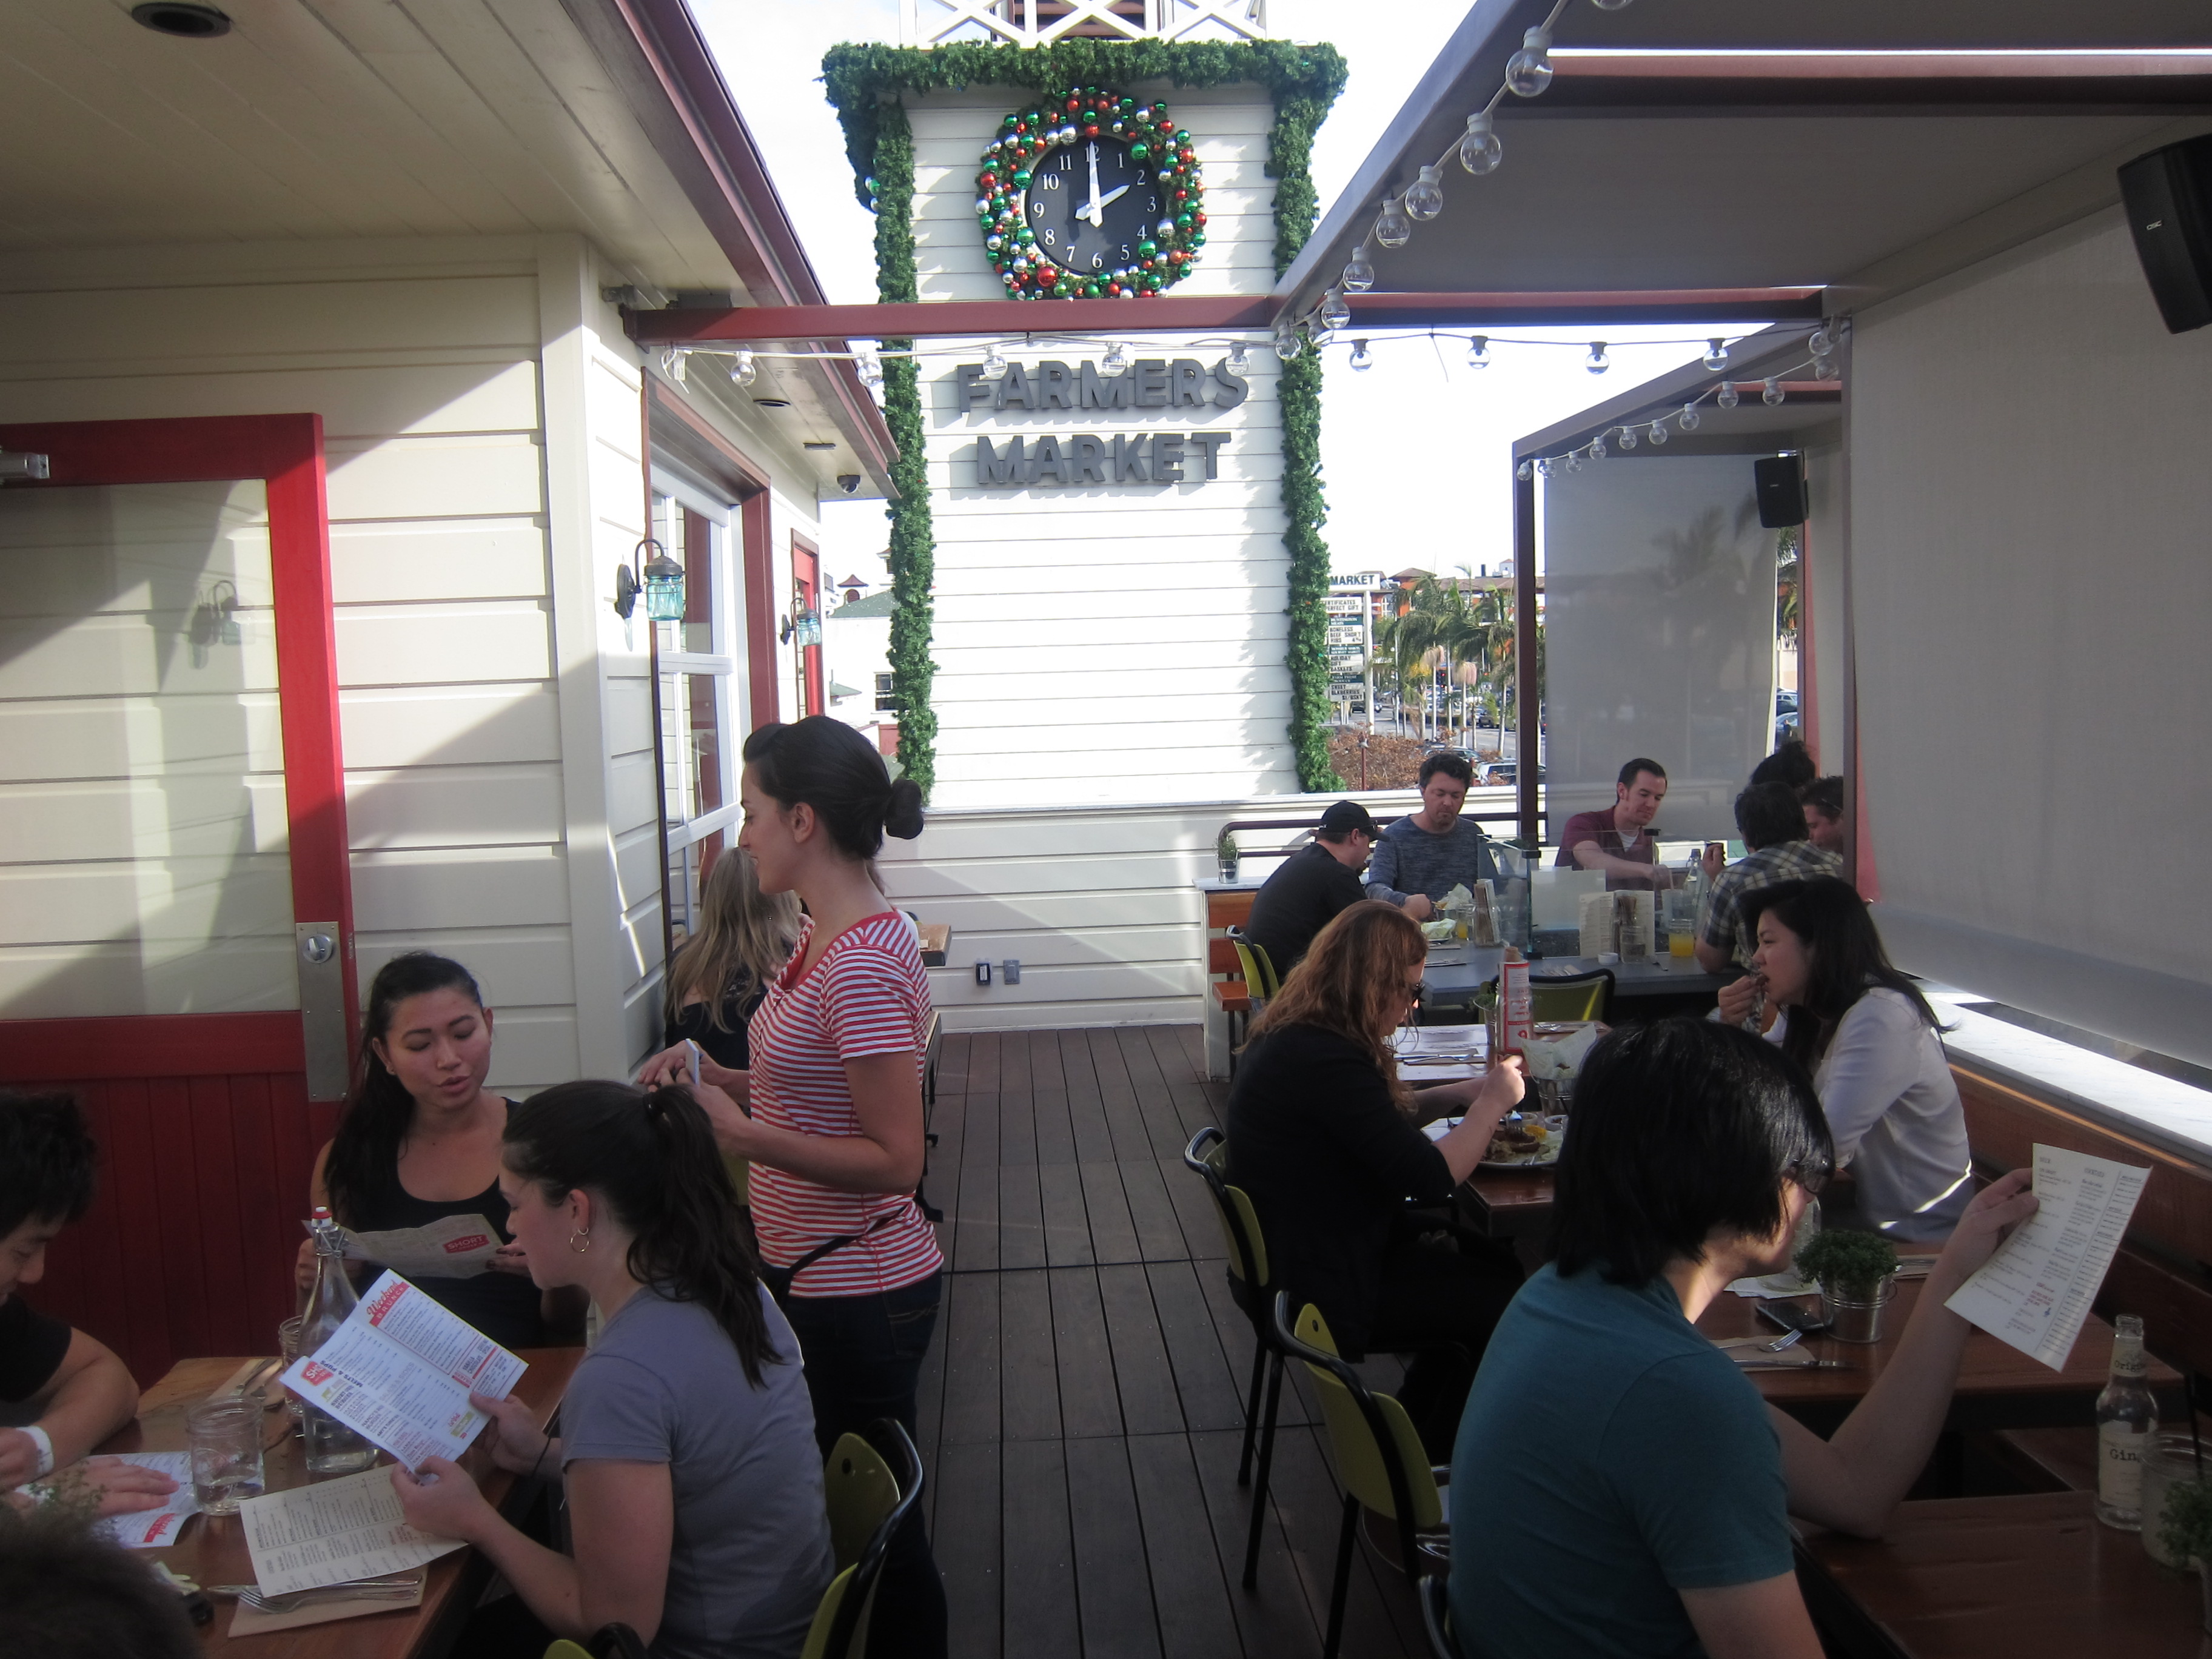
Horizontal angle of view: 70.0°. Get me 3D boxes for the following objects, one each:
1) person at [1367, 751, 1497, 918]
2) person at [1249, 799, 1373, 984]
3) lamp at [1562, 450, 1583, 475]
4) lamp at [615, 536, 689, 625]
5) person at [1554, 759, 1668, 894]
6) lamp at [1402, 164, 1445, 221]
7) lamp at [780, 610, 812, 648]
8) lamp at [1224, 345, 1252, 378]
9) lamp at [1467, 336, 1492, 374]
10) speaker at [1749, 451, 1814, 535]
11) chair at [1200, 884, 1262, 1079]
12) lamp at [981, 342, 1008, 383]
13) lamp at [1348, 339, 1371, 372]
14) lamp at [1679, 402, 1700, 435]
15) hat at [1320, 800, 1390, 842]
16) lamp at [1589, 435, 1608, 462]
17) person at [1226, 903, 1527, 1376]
[{"bbox_3d":[1.516,0.006,7.401,0.658,0.978,0.649,0,6,-7],"label":"person"},{"bbox_3d":[0.957,0.322,6.653,0.458,1.037,0.440,-11,39,1],"label":"person"},{"bbox_3d":[2.335,-1.862,7.918,0.062,0.094,0.065,3,7,36],"label":"lamp"},{"bbox_3d":[-1.383,-0.756,4.759,0.144,0.261,0.242,1,-3,-18],"label":"lamp"},{"bbox_3d":[2.390,-0.055,7.478,0.505,0.508,1.077,0,7,19],"label":"person"},{"bbox_3d":[0.751,-1.536,3.768,0.080,0.105,0.149,-1,6,8],"label":"lamp"},{"bbox_3d":[-1.625,-1.055,8.277,0.109,0.203,0.192,0,-1,-14],"label":"lamp"},{"bbox_3d":[0.842,-3.047,10.291,0.155,0.207,0.173,0,6,18],"label":"lamp"},{"bbox_3d":[1.289,-1.653,5.466,0.068,0.100,0.161,-1,6,12],"label":"lamp"},{"bbox_3d":[3.274,-1.646,7.638,0.274,0.370,0.233,-1,6,11],"label":"speaker"},{"bbox_3d":[0.589,0.721,7.509,0.332,0.704,0.990,0,3,2],"label":"chair"},{"bbox_3d":[-0.708,-2.987,10.079,0.130,0.213,0.270,1,7,26],"label":"lamp"},{"bbox_3d":[0.860,-1.629,5.386,0.074,0.075,0.197,-1,6,10],"label":"lamp"},{"bbox_3d":[2.708,-1.931,7.351,0.068,0.141,0.098,20,17,37],"label":"lamp"},{"bbox_3d":[1.026,-0.023,6.510,0.233,0.156,0.167,-7,9,-31],"label":"hat"},{"bbox_3d":[2.419,-1.885,7.760,0.091,0.092,0.130,1,7,28],"label":"lamp"},{"bbox_3d":[0.743,0.937,4.028,0.741,1.445,0.620,-4,6,-10],"label":"person"}]
